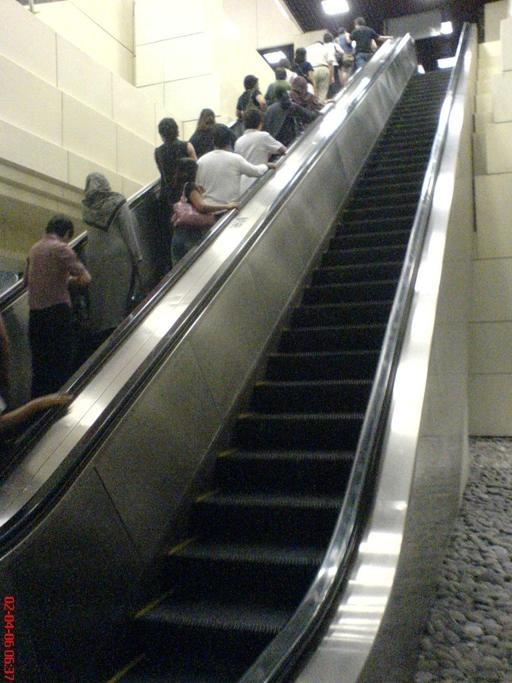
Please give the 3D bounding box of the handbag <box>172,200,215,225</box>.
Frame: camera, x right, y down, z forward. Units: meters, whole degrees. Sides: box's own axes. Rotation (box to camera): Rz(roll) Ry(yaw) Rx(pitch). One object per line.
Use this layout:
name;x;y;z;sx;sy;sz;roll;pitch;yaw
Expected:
handbag;-0.454;-0.888;3.439;0.228;0.114;0.179;-8;31;-9
